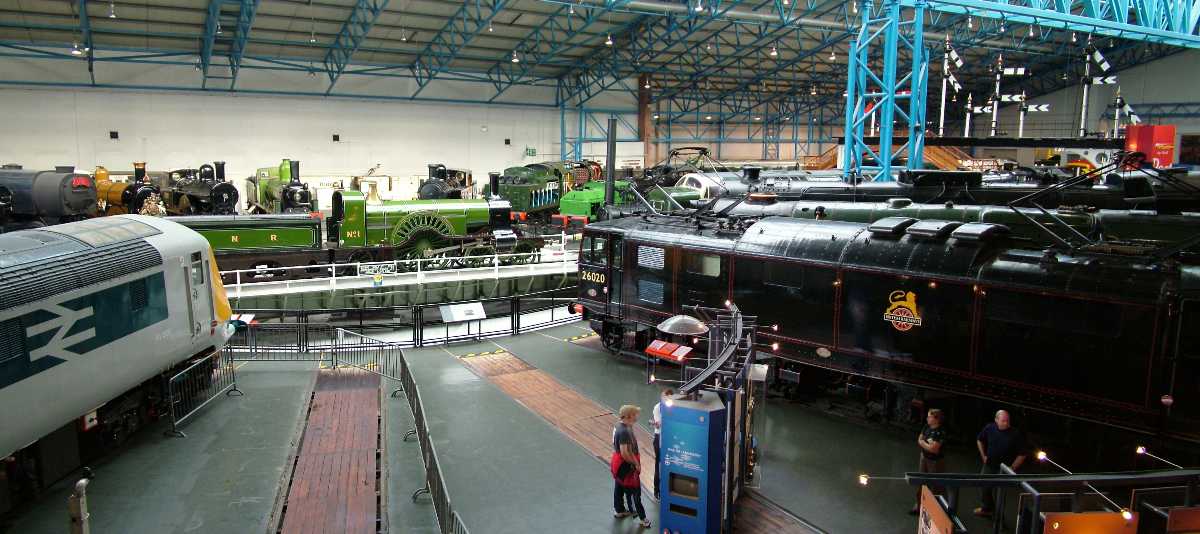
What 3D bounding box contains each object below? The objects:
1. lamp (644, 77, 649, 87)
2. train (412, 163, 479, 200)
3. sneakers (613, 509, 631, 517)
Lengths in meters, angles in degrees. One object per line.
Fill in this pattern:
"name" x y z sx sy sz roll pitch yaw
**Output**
"lamp" 4.919 -19.837 73.069 0.528 0.988 0.228 -4 13 -7
"train" -11.862 -6.335 50.216 2.901 3.280 7.187 -1 5 4
"sneakers" 0.861 9.694 26.637 0.675 0.202 0.234 -2 4 -3
